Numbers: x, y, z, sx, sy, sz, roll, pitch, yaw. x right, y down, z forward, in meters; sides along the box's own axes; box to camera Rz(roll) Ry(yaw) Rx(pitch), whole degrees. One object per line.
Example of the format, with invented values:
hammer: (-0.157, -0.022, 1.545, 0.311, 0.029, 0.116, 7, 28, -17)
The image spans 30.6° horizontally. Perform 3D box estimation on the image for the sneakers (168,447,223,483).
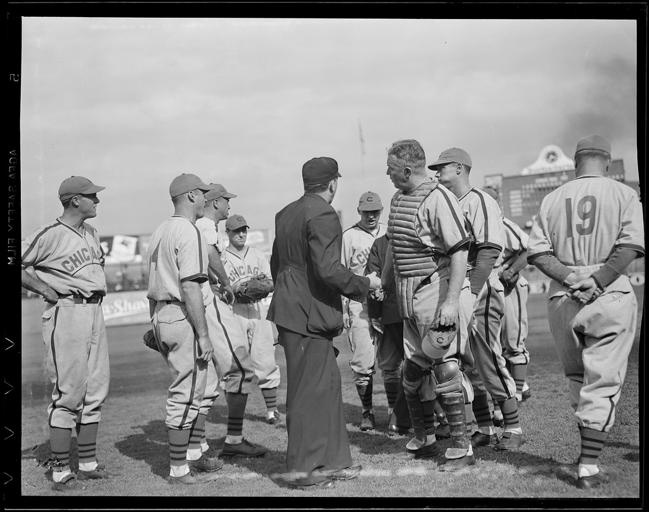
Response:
sneakers: (-1.319, 2.130, 12.141, 0.639, 0.279, 0.227, -4, 11, -38)

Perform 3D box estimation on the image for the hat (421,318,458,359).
hat: (1.145, 0.842, 11.852, 0.354, 0.373, 0.266, -2, 5, 7)

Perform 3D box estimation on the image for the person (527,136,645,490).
person: (2.675, 0.494, 11.768, 0.962, 3.343, 0.848, -4, 5, -14)

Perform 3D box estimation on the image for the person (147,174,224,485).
person: (-1.465, 0.701, 12.125, 0.668, 3.087, 0.862, -3, 5, -6)

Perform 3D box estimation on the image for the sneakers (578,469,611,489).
sneakers: (2.647, 2.159, 11.546, 0.393, 0.170, 0.133, -6, 4, -30)

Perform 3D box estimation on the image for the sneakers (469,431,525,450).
sneakers: (1.825, 1.937, 12.554, 0.564, 0.261, 0.205, 3, -1, 10)

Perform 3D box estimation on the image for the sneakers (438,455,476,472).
sneakers: (1.318, 2.065, 11.989, 0.383, 0.175, 0.154, 3, -1, -14)

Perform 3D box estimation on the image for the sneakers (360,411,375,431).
sneakers: (0.491, 1.900, 13.588, 0.214, 0.219, 0.170, 0, -41, 5)

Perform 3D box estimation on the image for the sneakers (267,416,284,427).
sneakers: (-0.552, 1.937, 13.929, 0.096, 0.126, 0.181, -11, -32, 40)

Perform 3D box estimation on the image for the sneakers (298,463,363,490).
sneakers: (0.045, 2.161, 11.953, 0.652, 0.291, 0.222, -9, 4, -10)

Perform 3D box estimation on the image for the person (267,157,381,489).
person: (-0.086, 0.621, 12.057, 0.974, 3.228, 0.841, -3, 5, -1)

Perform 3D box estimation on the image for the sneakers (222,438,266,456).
sneakers: (-0.866, 2.019, 12.669, 0.464, 0.229, 0.190, 0, -4, -3)

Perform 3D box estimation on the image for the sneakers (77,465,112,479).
sneakers: (-2.369, 2.187, 12.192, 0.370, 0.174, 0.134, 3, -1, -10)
